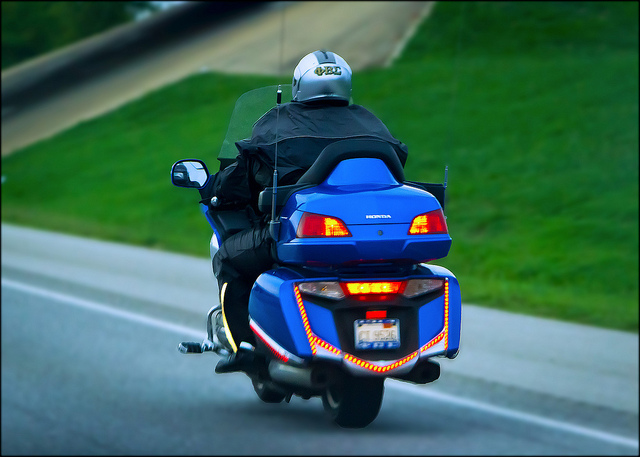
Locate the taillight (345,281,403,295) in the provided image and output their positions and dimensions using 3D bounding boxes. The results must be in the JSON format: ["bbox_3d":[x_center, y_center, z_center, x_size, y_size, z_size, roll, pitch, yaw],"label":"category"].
[{"bbox_3d":[0.567,0.622,8.576,0.587,0.159,0.035,10,-1,-9],"label":"taillight"}]
